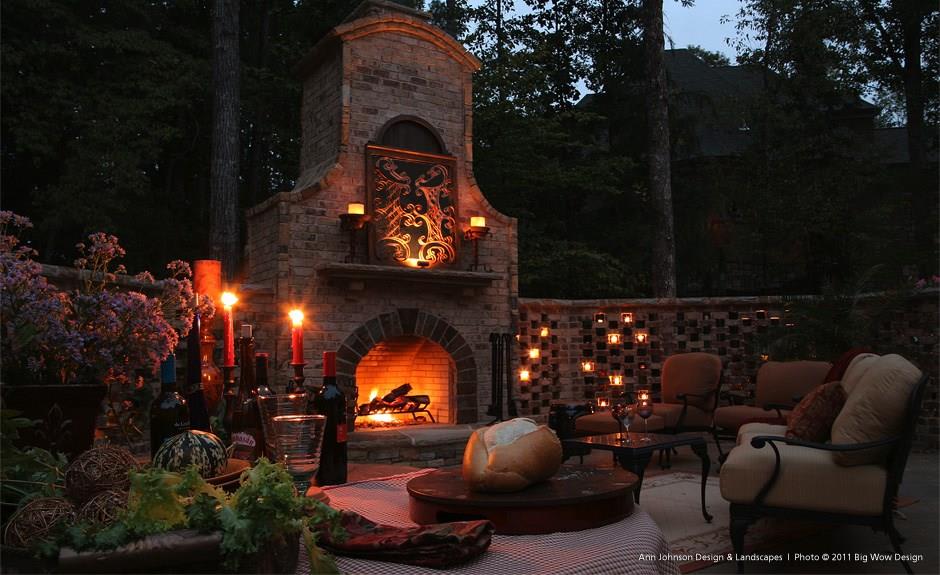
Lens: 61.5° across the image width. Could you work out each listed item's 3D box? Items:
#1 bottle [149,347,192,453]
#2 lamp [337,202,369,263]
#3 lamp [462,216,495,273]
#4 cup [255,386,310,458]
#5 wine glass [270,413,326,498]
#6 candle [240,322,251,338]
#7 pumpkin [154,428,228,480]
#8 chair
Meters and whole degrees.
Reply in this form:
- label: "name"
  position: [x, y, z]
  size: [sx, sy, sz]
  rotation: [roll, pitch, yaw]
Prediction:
- label: "bottle"
  position: [-2.085, 0.789, 5.491]
  size: [0.210, 0.754, 0.179]
  rotation: [-2, -8, -6]
- label: "lamp"
  position: [-1.577, -0.744, 10.816]
  size: [0.412, 0.783, 0.370]
  rotation: [1, -3, -8]
- label: "lamp"
  position: [0.138, -0.667, 11.660]
  size: [0.468, 0.830, 0.377]
  rotation: [1, -3, -14]
- label: "cup"
  position: [-1.342, 0.958, 5.559]
  size: [0.446, 0.444, 0.449]
  rotation: [-1, -6, 0]
- label: "wine glass"
  position: [-1.148, 1.105, 5.278]
  size: [0.301, 0.524, 0.272]
  rotation: [3, -2, -12]
- label: "candle"
  position: [-1.687, 0.324, 5.952]
  size: [0.067, 0.098, 0.102]
  rotation: [1, -4, -22]
- label: "pumpkin"
  position: [-1.820, 1.052, 5.163]
  size: [0.360, 0.314, 0.354]
  rotation: [3, -7, -34]
- label: "chair"
  position: [2.853, 1.653, 8.417]
  size: [2.061, 2.002, 3.188]
  rotation: [-3, -7, 23]
